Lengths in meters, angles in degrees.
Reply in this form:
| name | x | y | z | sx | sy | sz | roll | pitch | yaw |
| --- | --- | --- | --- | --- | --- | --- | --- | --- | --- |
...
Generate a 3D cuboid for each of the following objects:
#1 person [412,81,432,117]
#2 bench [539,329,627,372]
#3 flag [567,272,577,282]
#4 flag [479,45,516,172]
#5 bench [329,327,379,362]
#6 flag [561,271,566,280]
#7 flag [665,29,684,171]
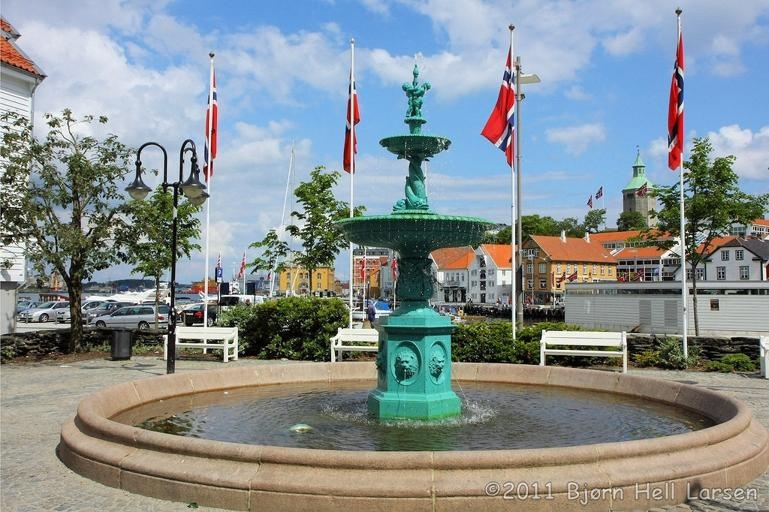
| name | x | y | z | sx | sy | sz | roll | pitch | yaw |
| --- | --- | --- | --- | --- | --- | --- | --- | --- | --- |
| person | 0.785 | -3.543 | 17.408 | 0.518 | 0.811 | 0.391 | -2 | 33 | 2 |
| bench | 5.857 | 2.761 | 22.712 | 2.375 | 1.145 | 2.528 | -1 | -3 | 10 |
| flag | 22.150 | 2.551 | 89.548 | 1.173 | 0.629 | 1.624 | -1 | -14 | -28 |
| flag | 3.939 | -5.015 | 25.457 | 0.876 | 4.062 | 1.343 | -1 | -3 | 12 |
| bench | -0.937 | 2.763 | 23.741 | 1.440 | 0.994 | 2.435 | 0 | -3 | -4 |
| flag | 23.929 | 2.678 | 101.332 | 0.413 | 0.734 | 0.204 | -12 | -34 | 43 |
| flag | 9.290 | -4.928 | 24.043 | 0.370 | 4.309 | 0.892 | -1 | -3 | 2 |
